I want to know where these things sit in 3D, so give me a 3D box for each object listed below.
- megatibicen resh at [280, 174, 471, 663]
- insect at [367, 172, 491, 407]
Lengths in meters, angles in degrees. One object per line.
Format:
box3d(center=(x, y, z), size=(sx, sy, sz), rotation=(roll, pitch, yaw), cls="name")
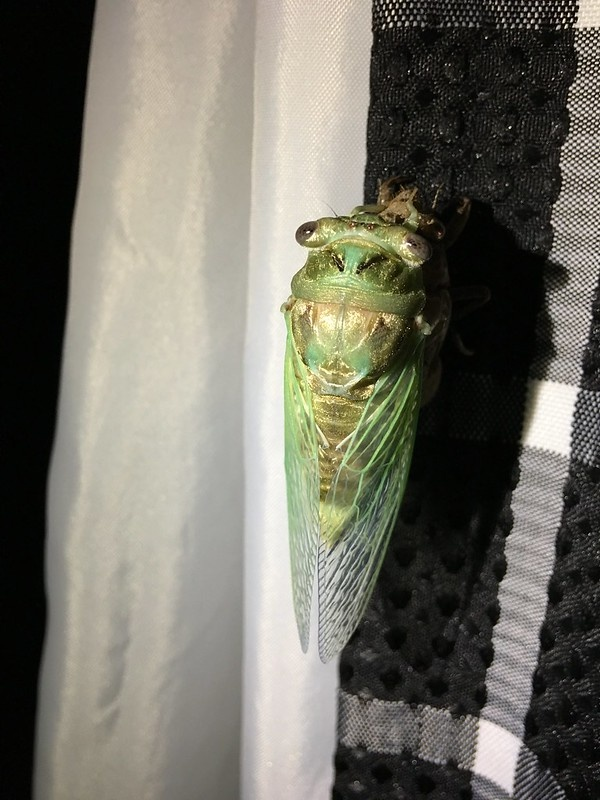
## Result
box3d(center=(0.057, 0.036, 0.820), size=(0.162, 0.489, 0.151), rotation=(6, 8, 8), cls="megatibicen resh")
box3d(center=(0.112, -0.109, 0.767), size=(0.138, 0.183, 0.056), rotation=(6, 22, 22), cls="insect")
